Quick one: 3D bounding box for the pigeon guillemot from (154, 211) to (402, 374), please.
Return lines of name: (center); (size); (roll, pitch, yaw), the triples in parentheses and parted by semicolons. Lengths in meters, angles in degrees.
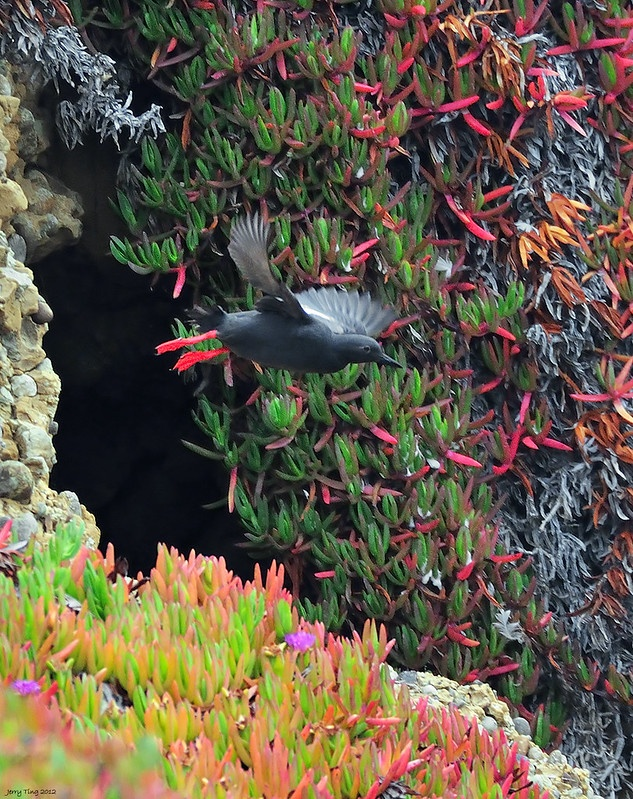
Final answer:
pigeon guillemot: (-0.102, -0.248, 4.760); (0.759, 0.695, 0.496); (5, 36, -25)
